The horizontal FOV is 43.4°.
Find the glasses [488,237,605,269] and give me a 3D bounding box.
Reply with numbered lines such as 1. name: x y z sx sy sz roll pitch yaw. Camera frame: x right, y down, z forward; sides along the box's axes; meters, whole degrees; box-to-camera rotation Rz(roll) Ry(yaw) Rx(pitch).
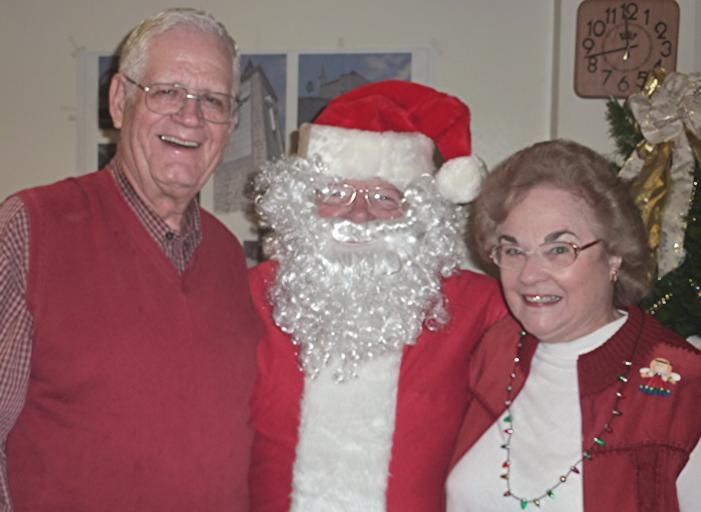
1. glasses: 0.740 -0.007 3.300 0.382 0.134 0.096 7 15 14

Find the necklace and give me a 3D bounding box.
1. necklace: 0.834 0.578 3.351 0.486 0.692 0.402 7 15 18
